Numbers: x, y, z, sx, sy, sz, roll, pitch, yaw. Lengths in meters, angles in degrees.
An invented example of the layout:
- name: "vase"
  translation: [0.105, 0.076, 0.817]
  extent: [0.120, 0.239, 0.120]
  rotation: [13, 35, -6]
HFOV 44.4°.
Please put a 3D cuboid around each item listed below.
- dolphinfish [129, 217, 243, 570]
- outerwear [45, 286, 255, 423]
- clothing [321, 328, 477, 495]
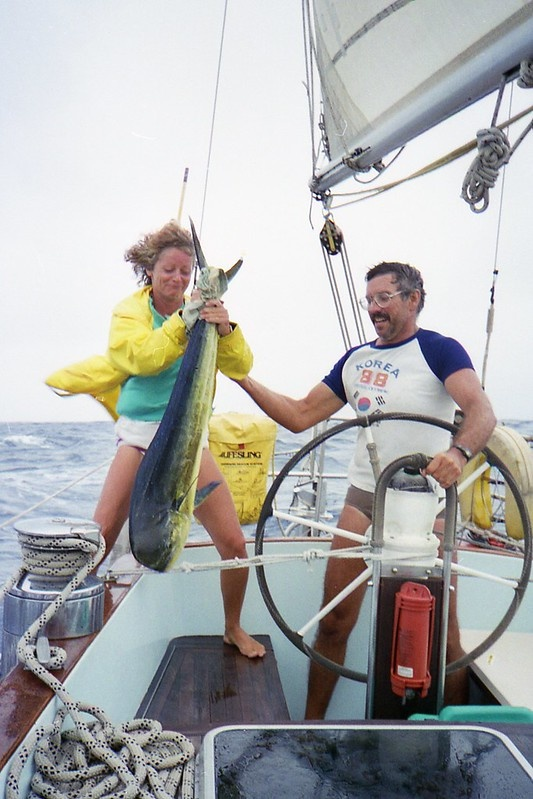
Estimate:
- name: "dolphinfish"
  translation: [-0.217, 0.003, 1.809]
  extent: [0.347, 0.899, 0.382]
  rotation: [-4, 0, 18]
- name: "outerwear"
  translation: [-0.370, -0.149, 2.231]
  extent: [0.543, 0.411, 0.578]
  rotation: [14, 12, 38]
- name: "clothing"
  translation: [0.484, 0.044, 2.424]
  extent: [0.284, 0.614, 0.825]
  rotation: [-9, 12, -38]
